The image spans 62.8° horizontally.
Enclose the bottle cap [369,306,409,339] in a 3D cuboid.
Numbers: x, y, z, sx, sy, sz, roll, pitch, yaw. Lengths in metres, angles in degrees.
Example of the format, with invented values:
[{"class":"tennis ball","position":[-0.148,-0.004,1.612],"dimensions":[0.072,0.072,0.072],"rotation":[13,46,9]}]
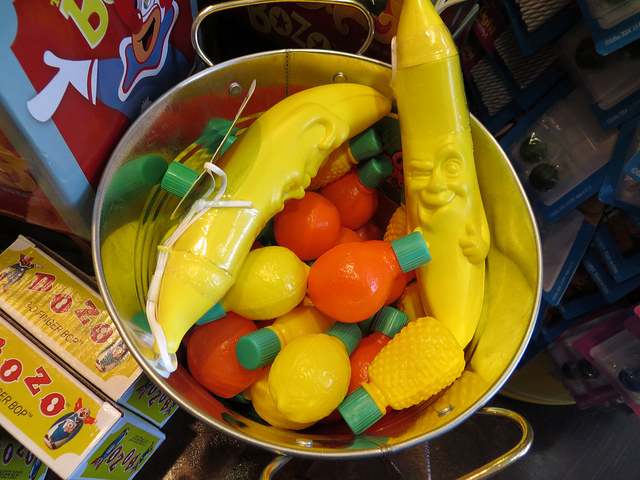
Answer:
[{"class":"bottle cap","position":[0.123,0.130,0.911],"dimensions":[0.049,0.052,0.041],"rotation":[21,69,48]}]

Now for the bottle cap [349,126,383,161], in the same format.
[{"class":"bottle cap","position":[0.082,-0.166,0.955],"dimensions":[0.043,0.052,0.054],"rotation":[-25,44,19]}]

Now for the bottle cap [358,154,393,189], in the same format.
[{"class":"bottle cap","position":[0.097,-0.119,0.919],"dimensions":[0.049,0.052,0.062],"rotation":[23,76,-20]}]

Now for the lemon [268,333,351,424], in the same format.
[{"class":"lemon","position":[-0.014,0.214,0.848],"dimensions":[0.103,0.099,0.134],"rotation":[47,58,-14]}]

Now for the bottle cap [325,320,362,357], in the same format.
[{"class":"bottle cap","position":[0.037,0.151,0.900],"dimensions":[0.049,0.057,0.052],"rotation":[25,36,24]}]

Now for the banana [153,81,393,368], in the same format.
[{"class":"banana","position":[-0.103,-0.081,0.856],"dimensions":[0.160,0.126,0.555],"rotation":[39,70,10]}]

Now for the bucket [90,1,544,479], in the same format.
[{"class":"bucket","position":[-0.042,-0.071,1.193],"dimensions":[0.776,0.344,1.020],"rotation":[-26,97,-11]}]

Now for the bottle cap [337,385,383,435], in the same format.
[{"class":"bottle cap","position":[0.063,0.260,0.798],"dimensions":[0.060,0.052,0.067],"rotation":[-40,91,-14]}]

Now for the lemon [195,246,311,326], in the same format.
[{"class":"lemon","position":[-0.108,0.092,0.898],"dimensions":[0.184,0.098,0.105],"rotation":[-38,75,3]}]
